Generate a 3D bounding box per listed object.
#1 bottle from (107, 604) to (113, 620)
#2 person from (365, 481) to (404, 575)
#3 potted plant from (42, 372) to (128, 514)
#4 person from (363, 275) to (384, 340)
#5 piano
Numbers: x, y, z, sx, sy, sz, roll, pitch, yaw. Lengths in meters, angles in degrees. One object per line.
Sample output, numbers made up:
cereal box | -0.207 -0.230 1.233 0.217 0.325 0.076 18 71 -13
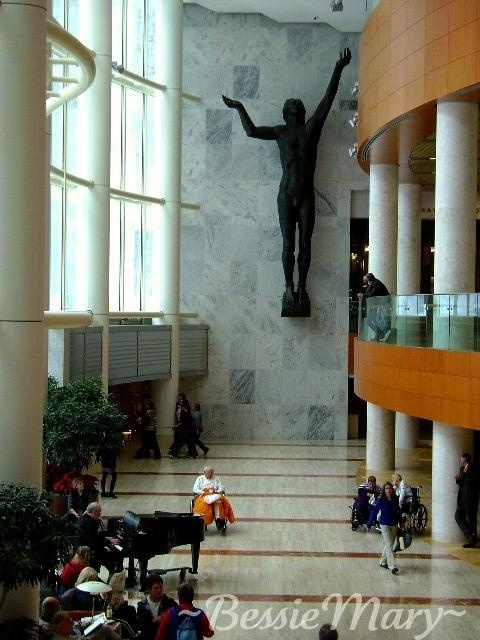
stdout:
bottle | -1.027 2.259 4.623 0.044 0.111 0.079 1 0 -1
person | 1.868 2.648 7.744 0.388 0.987 0.628 1 0 13
potted plant | -2.454 1.832 9.247 1.315 2.086 1.316 -1 5 0
person | 2.553 -0.260 11.066 0.459 1.322 0.381 -3 -24 10
piano | -0.914 2.478 6.839 0.903 0.794 0.852 3 -7 -21
